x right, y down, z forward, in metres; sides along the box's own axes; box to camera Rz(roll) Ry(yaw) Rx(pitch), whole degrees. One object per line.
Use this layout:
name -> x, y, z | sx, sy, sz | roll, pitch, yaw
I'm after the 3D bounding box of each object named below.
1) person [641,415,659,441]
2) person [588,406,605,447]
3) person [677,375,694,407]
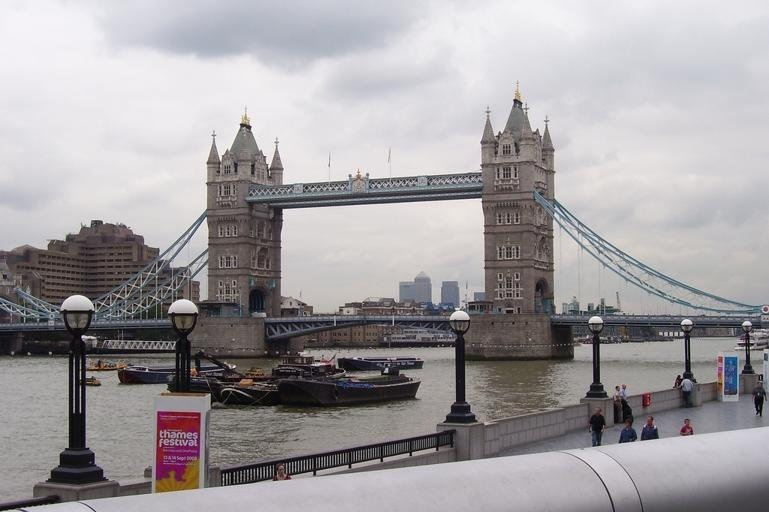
person -> 12.232, 7.871, 67.589 | 0.729, 0.988, 2.020 | -3, -6, 9
person -> 10.008, 7.943, 68.722 | 0.653, 1.670, 1.570 | -3, -6, 8
person -> 15.821, 7.002, 76.478 | 0.724, 1.727, 1.030 | -4, -7, 17
